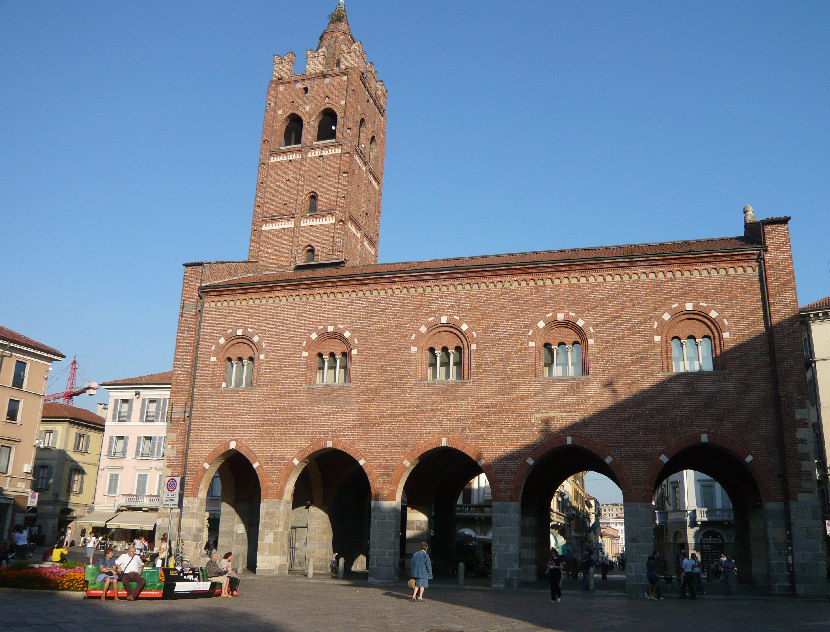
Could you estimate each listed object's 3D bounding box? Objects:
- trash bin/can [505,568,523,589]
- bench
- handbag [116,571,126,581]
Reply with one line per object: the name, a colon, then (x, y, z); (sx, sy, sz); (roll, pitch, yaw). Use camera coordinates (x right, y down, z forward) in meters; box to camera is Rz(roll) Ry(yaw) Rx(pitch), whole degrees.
trash bin/can: (3.594, 9.762, 25.169); (0.430, 0.707, 0.272); (3, -20, -10)
bench: (-7.698, 7.968, 20.169); (3.814, 0.907, 0.864); (7, -21, -20)
handbag: (-8.494, 7.572, 19.659); (0.173, 0.304, 0.241); (-28, -13, 34)
